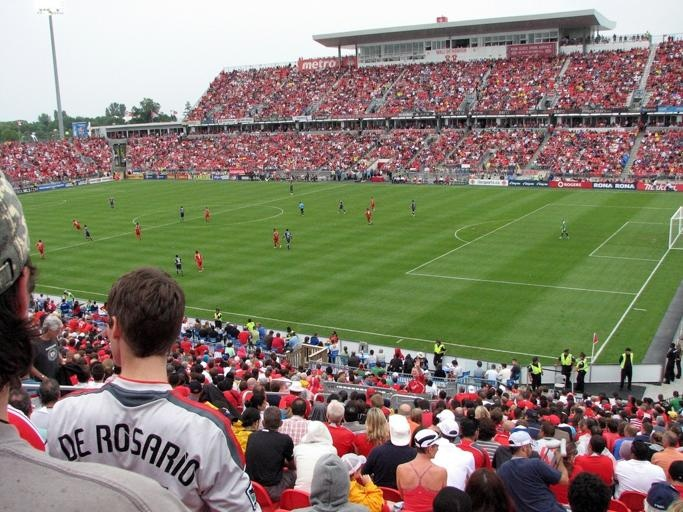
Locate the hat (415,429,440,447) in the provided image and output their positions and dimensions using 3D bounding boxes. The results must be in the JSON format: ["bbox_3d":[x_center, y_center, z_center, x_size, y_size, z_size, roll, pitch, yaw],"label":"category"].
[{"bbox_3d":[1.270,2.762,11.872,0.325,0.308,0.348,0,12,4],"label":"hat"}]

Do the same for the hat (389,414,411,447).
[{"bbox_3d":[0.953,2.902,12.975,0.328,0.479,0.340,-1,12,3],"label":"hat"}]

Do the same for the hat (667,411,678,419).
[{"bbox_3d":[8.961,4.365,21.465,0.244,0.156,0.322,-1,0,20],"label":"hat"}]

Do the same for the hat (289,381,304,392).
[{"bbox_3d":[-1.014,3.124,18.394,0.275,0.106,0.274,-9,16,-40],"label":"hat"}]
